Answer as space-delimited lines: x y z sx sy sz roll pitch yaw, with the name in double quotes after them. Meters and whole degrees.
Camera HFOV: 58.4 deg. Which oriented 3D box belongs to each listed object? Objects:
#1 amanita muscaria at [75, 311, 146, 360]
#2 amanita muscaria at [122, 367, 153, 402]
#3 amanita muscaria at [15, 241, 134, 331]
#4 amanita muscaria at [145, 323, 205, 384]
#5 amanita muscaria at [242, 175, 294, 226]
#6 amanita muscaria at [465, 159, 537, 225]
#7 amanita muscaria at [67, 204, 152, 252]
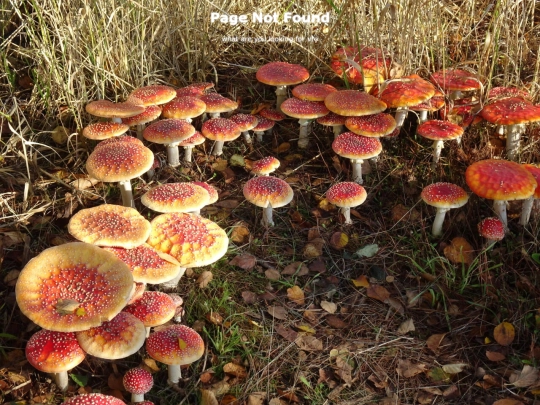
-1.408 1.215 4.472 0.600 0.139 0.577 -11 41 -4 "amanita muscaria"
-1.238 1.734 4.567 0.260 0.357 0.252 -7 41 -30 "amanita muscaria"
-1.766 0.792 4.418 0.967 0.336 0.820 26 51 10 "amanita muscaria"
-0.924 1.421 4.802 0.536 0.466 0.529 5 23 -6 "amanita muscaria"
-0.007 -0.042 5.852 0.514 0.529 0.519 24 49 22 "amanita muscaria"
2.583 -0.251 5.434 0.674 0.250 0.636 -12 54 -20 "amanita muscaria"
-1.613 0.252 4.944 0.817 0.223 0.755 -4 24 -40 "amanita muscaria"
